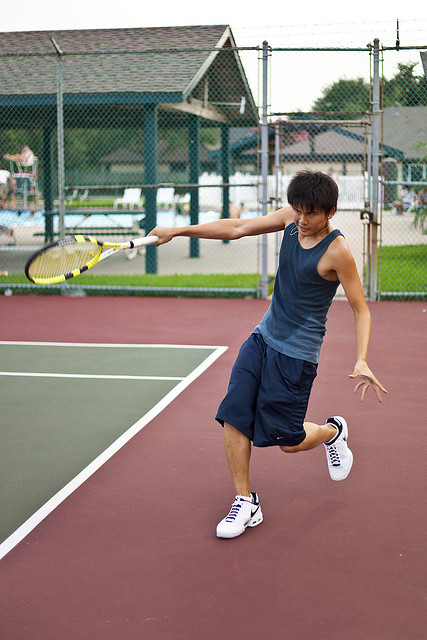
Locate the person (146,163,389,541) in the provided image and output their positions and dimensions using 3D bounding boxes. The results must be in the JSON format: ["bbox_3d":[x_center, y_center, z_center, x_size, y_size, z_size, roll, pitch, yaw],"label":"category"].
[{"bbox_3d":[0.198,0.120,2.864,1.342,1.590,0.989,6,8,14],"label":"person"}]

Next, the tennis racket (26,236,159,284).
[{"bbox_3d":[-0.737,-0.324,3.273,0.491,0.241,0.920,-2,9,-16],"label":"tennis racket"}]
